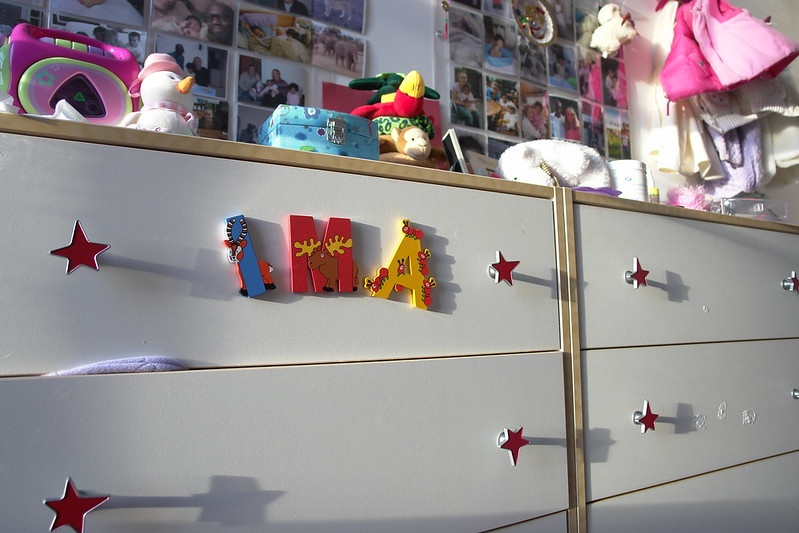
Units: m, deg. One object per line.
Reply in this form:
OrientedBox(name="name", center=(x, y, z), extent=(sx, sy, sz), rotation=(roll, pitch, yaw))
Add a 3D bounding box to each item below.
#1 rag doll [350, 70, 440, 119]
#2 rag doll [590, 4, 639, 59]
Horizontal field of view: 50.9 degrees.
OrientedBox(name="rag doll", center=(-0.012, -0.485, 2.464), extent=(0.242, 0.159, 0.259), rotation=(4, 2, 25))
OrientedBox(name="rag doll", center=(0.760, -0.837, 3.058), extent=(0.136, 0.201, 0.145), rotation=(-15, 43, -40))
